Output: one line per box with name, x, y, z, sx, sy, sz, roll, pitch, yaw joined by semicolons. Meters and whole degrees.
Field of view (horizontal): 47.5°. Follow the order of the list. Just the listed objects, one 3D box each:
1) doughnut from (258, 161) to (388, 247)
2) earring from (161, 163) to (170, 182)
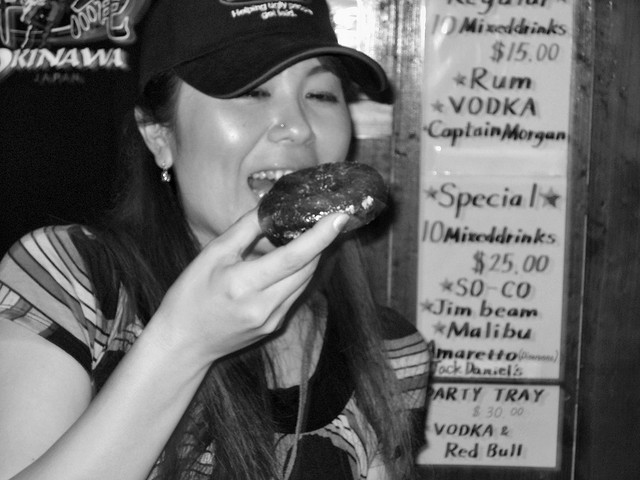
doughnut;0.004;-0.080;1.827;0.278;0.078;0.180;-16;69;0
earring;-0.427;-0.186;2.014;0.021;0.061;0.022;-14;32;-20
